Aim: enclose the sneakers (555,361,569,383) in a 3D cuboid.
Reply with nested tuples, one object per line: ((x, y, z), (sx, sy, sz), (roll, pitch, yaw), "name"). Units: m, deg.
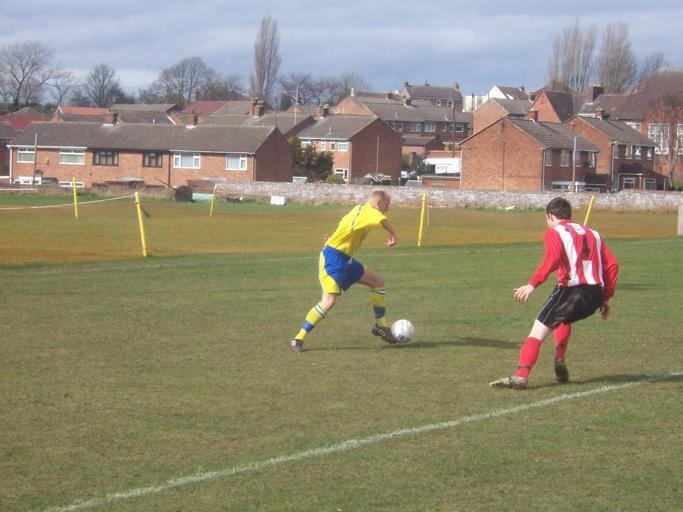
((4.310, 2.246, 28.222), (0.202, 0.472, 0.242), (-8, 3, 12), "sneakers")

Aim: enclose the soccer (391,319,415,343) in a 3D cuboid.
((1.276, 1.557, 30.158), (0.510, 0.436, 0.460), (-6, -1, 3), "soccer")

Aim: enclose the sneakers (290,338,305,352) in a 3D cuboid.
((-0.944, 1.817, 29.503), (0.244, 0.223, 0.262), (1, -3, -10), "sneakers")
